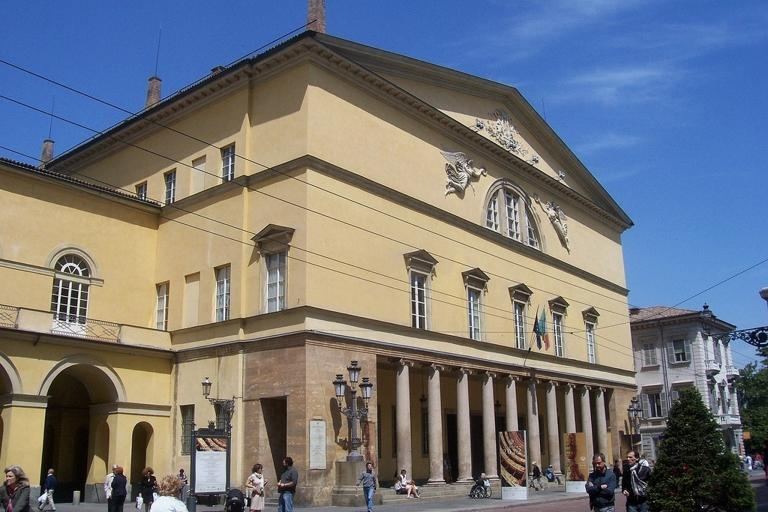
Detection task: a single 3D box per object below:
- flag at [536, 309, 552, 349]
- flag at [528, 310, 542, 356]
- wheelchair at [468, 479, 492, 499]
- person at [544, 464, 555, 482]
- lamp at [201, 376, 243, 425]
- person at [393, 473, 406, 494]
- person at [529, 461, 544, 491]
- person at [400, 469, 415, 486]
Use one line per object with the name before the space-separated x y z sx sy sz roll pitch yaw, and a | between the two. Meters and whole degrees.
flag | 9.767 4.639 40.843 0.328 2.993 1.263 -21 -40 37
flag | 9.346 4.578 40.384 0.240 2.636 1.828 -19 -25 37
wheelchair | 4.671 11.492 32.235 1.246 0.777 0.616 -7 -17 15
person | 10.153 13.452 40.473 0.517 0.914 0.933 -9 -21 15
lamp | -7.431 6.653 29.815 2.328 2.621 1.356 -20 -26 39
person | 0.733 10.765 31.003 0.605 0.911 0.377 -8 -20 11
person | 8.549 12.515 37.323 0.546 1.585 1.172 -6 -20 6
person | 0.967 10.583 31.306 0.711 0.696 0.679 8 -18 -31
